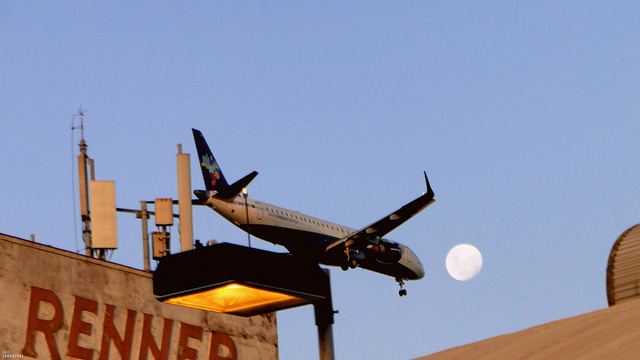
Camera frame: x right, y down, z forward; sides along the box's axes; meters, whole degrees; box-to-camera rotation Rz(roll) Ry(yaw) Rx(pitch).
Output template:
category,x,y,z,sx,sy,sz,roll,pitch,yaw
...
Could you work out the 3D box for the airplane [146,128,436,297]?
category,x,y,z,sx,sy,sz,roll,pitch,yaw
airplane,-1.013,2.406,57.257,9.454,3.023,9.346,19,-21,-41
